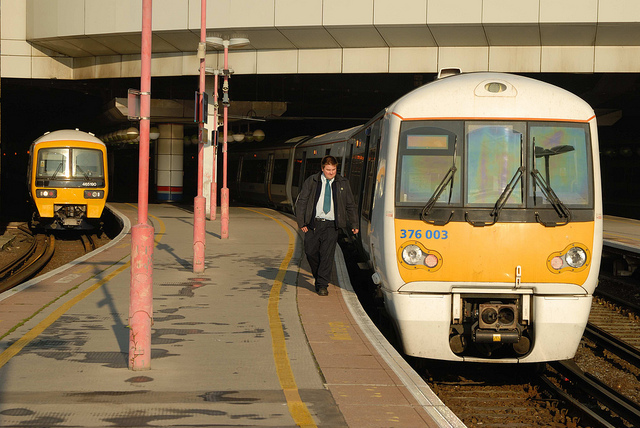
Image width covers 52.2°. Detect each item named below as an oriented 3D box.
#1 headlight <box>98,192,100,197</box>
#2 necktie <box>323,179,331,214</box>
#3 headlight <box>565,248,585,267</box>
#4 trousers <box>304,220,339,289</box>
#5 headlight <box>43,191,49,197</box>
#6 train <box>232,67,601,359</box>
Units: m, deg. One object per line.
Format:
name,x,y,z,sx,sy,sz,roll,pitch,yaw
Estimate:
headlight,-8.793,-0.783,25.953,0.025,0.173,0.064,6,8,37
necktie,0.124,-0.291,12.406,0.136,0.534,0.038,0,6,-17
headlight,3.922,0.668,10.076,0.309,0.276,0.068,0,6,-16
trousers,0.004,0.782,12.732,0.619,1.397,0.533,1,6,-2
headlight,-10.624,-0.776,25.323,0.200,0.216,0.046,3,-2,-12
train,1.964,-0.609,16.912,3.572,4.998,14.434,1,7,-4
